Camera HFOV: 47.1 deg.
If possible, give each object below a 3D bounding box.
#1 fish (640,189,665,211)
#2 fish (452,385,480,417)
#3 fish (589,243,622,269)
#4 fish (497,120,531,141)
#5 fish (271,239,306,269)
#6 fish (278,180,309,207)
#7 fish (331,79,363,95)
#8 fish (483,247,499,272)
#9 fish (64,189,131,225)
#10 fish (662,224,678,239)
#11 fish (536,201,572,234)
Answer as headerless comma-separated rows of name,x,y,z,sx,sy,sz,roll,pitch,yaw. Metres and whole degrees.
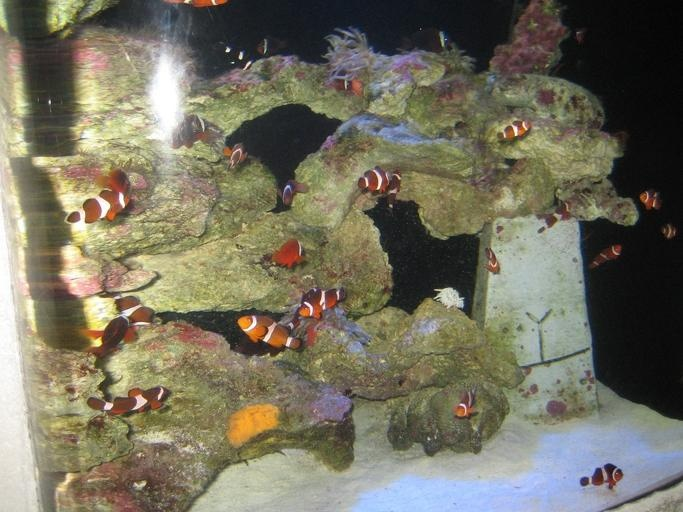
fish,2.784,-0.503,7.073,0.221,0.186,0.086,16,32,9
fish,1.039,1.306,6.951,0.152,0.178,0.357,6,12,27
fish,2.439,0.011,7.242,0.232,0.288,0.101,7,33,-8
fish,1.508,-1.078,6.861,0.249,0.081,0.151,-25,52,6
fish,-0.478,-0.038,6.786,0.203,0.202,0.299,11,27,5
fish,-0.428,-0.561,6.812,0.160,0.132,0.282,-7,33,20
fish,0.057,-1.497,6.913,0.268,0.143,0.024,4,34,-10
fish,1.392,0.029,7.287,0.171,0.205,0.093,-8,-8,18
fish,-1.881,-0.395,6.172,0.457,0.192,0.256,-17,16,-26
fish,2.951,-0.223,7.064,0.159,0.114,0.038,-11,4,6
fish,1.959,-0.369,7.258,0.296,0.115,0.214,-39,2,12
